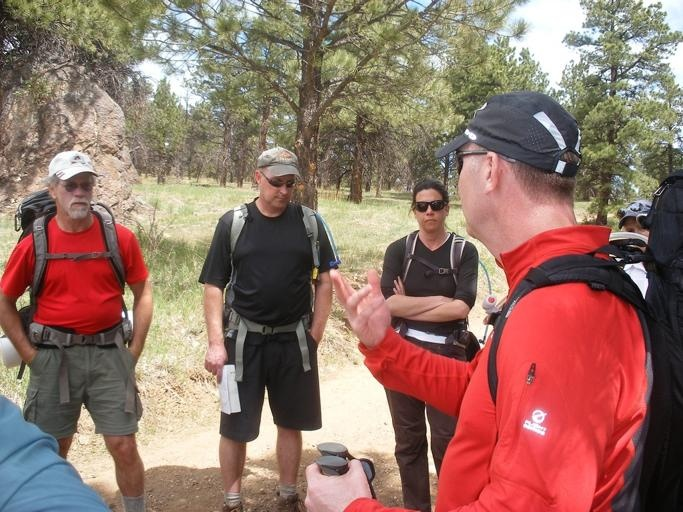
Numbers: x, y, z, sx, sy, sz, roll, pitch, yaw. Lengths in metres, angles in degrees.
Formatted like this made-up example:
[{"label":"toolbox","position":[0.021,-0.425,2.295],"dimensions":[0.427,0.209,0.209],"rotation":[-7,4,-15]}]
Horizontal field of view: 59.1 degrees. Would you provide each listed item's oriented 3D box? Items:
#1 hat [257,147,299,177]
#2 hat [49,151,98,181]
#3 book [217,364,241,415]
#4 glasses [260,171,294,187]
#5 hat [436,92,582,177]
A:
[{"label":"hat","position":[-0.489,-0.716,4.589],"dimensions":[0.215,0.172,0.296],"rotation":[0,7,-29]},{"label":"hat","position":[-1.915,-0.628,4.231],"dimensions":[0.221,0.156,0.292],"rotation":[0,1,-40]},{"label":"book","position":[-0.791,0.947,4.313],"dimensions":[0.137,0.343,0.327],"rotation":[-2,-4,-11]},{"label":"glasses","position":[-0.465,-0.565,4.508],"dimensions":[0.260,0.108,0.117],"rotation":[4,3,-9]},{"label":"hat","position":[0.659,-0.447,2.315],"dimensions":[0.424,0.232,0.315],"rotation":[17,16,28]}]
